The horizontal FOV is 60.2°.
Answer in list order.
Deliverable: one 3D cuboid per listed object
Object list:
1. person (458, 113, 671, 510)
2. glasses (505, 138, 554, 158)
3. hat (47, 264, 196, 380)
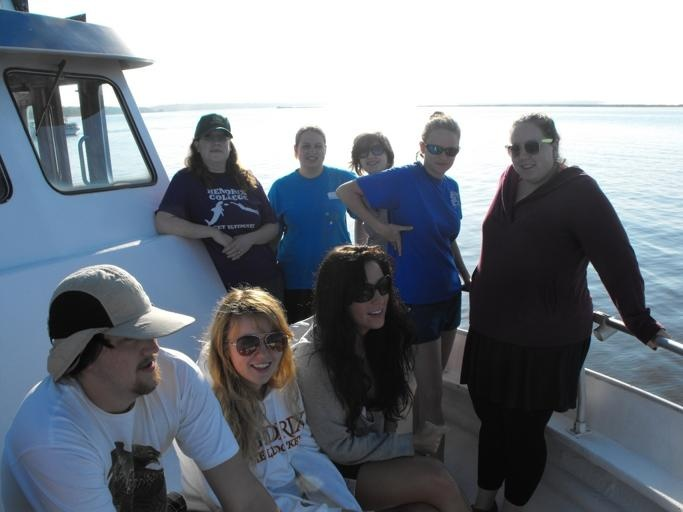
[{"bbox_3d":[1.139,0.405,3.323,0.919,2.336,0.434,-1,16,11],"label":"person"},{"bbox_3d":[1.004,-0.580,3.142,0.237,0.088,0.101,2,18,22],"label":"glasses"},{"bbox_3d":[-0.881,0.199,2.426,0.511,0.339,0.362,-15,11,-2],"label":"hat"}]
